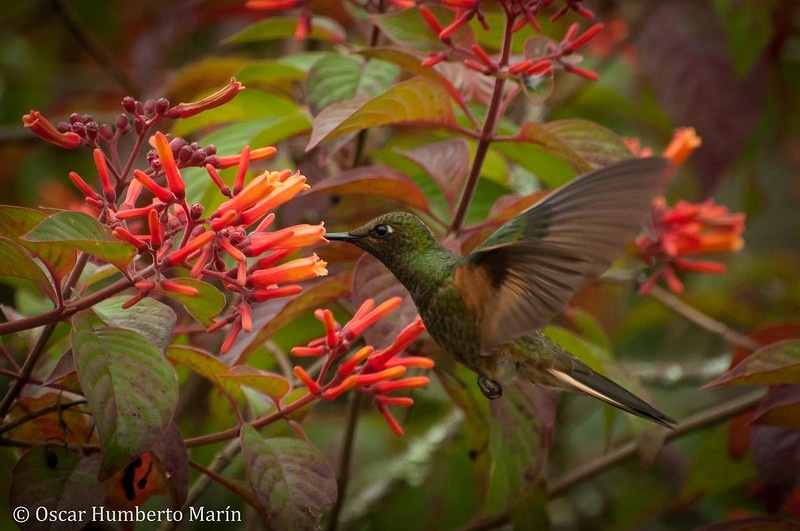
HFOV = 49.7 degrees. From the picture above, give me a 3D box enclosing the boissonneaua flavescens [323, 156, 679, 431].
[{"bbox_3d":[0.312,0.029,2.561,1.100,0.649,0.579,8,5,12],"label":"boissonneaua flavescens"}]
